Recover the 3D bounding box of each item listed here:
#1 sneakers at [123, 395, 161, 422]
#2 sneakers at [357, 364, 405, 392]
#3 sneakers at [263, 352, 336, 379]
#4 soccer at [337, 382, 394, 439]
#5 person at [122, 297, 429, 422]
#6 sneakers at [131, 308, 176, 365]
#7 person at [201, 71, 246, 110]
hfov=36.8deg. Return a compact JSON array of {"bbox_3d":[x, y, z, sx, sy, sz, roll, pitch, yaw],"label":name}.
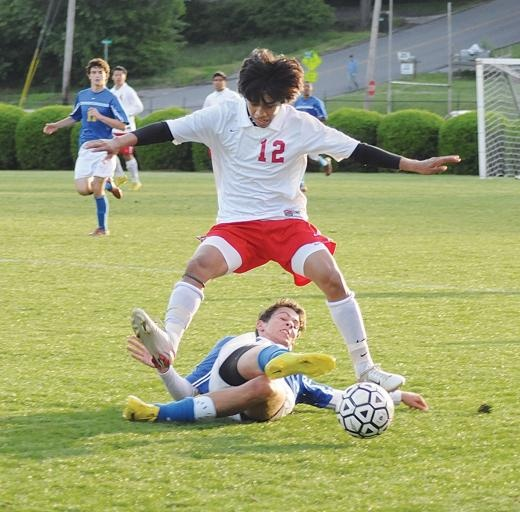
[{"bbox_3d":[-0.473,0.645,3.282,0.180,0.086,0.066,10,3,-5],"label":"sneakers"},{"bbox_3d":[0.541,0.556,3.526,0.237,0.079,0.078,-2,21,42],"label":"sneakers"},{"bbox_3d":[0.156,0.444,3.139,0.273,0.133,0.147,-1,6,0],"label":"sneakers"},{"bbox_3d":[0.426,0.637,3.222,0.201,0.190,0.187,-4,7,-22],"label":"soccer"},{"bbox_3d":[0.099,0.445,3.445,1.445,0.537,0.746,3,-31,-3],"label":"person"},{"bbox_3d":[-0.445,0.335,3.249,0.156,0.269,0.239,-2,7,-4],"label":"sneakers"},{"bbox_3d":[-0.654,-3.048,14.414,0.431,0.633,1.085,-18,21,-41],"label":"person"}]
